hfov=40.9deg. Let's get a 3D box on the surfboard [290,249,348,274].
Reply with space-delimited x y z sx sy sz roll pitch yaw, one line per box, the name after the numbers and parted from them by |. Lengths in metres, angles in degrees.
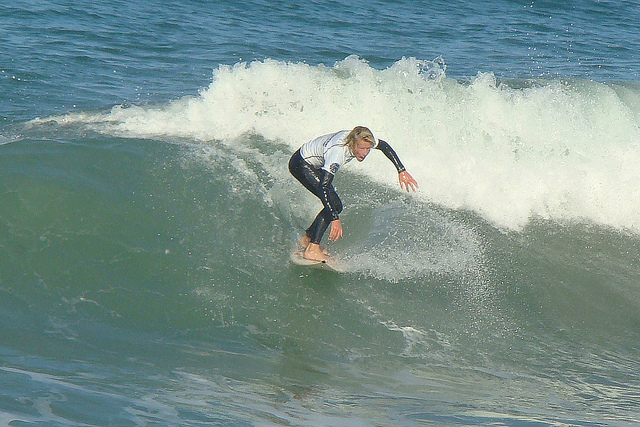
-0.092 0.832 14.211 1.134 0.389 0.310 4 32 -11 | surfboard
